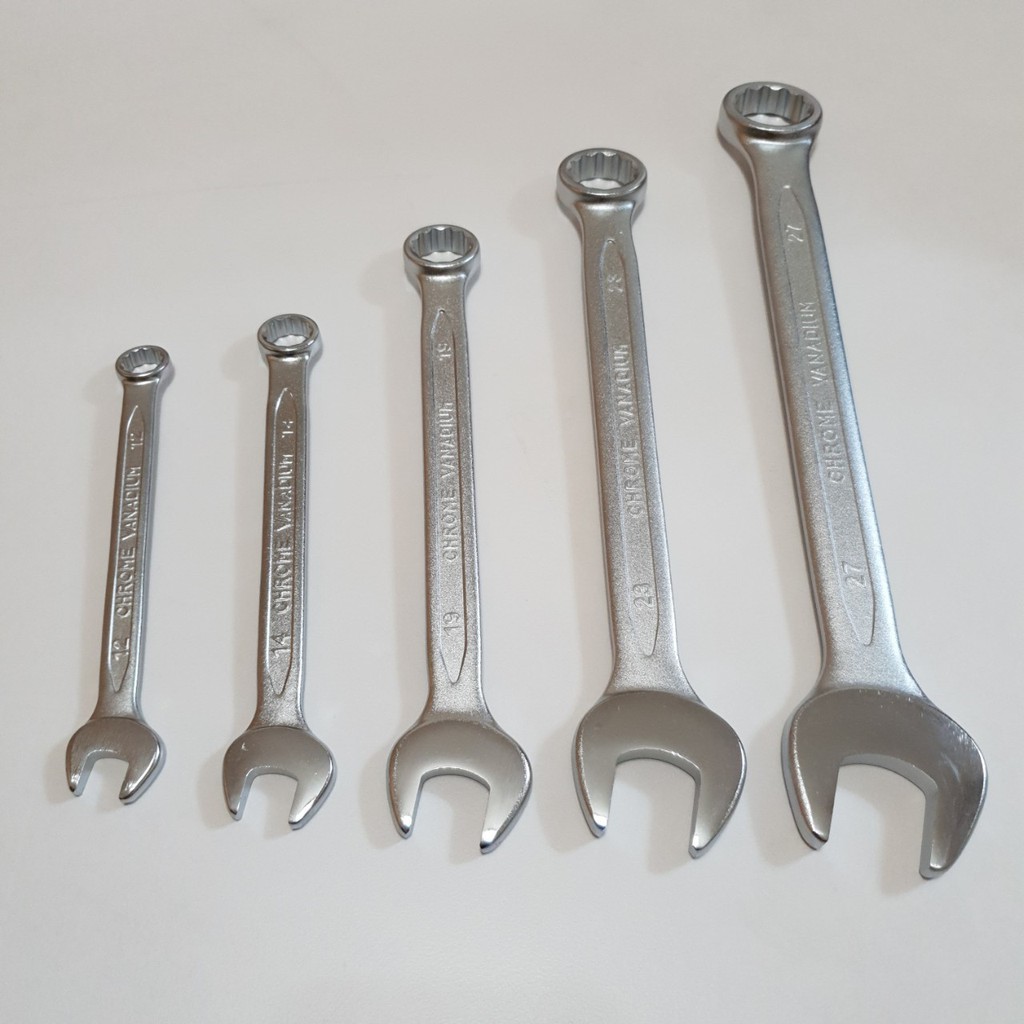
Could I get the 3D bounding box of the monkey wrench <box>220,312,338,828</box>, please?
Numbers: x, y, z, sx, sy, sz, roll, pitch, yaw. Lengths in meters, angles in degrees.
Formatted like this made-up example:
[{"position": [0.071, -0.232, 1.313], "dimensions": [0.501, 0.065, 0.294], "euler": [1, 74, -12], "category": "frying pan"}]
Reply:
[{"position": [-0.291, 0.037, 1.746], "dimensions": [0.102, 0.702, 0.075], "euler": [-1, -32, 1], "category": "monkey wrench"}]
